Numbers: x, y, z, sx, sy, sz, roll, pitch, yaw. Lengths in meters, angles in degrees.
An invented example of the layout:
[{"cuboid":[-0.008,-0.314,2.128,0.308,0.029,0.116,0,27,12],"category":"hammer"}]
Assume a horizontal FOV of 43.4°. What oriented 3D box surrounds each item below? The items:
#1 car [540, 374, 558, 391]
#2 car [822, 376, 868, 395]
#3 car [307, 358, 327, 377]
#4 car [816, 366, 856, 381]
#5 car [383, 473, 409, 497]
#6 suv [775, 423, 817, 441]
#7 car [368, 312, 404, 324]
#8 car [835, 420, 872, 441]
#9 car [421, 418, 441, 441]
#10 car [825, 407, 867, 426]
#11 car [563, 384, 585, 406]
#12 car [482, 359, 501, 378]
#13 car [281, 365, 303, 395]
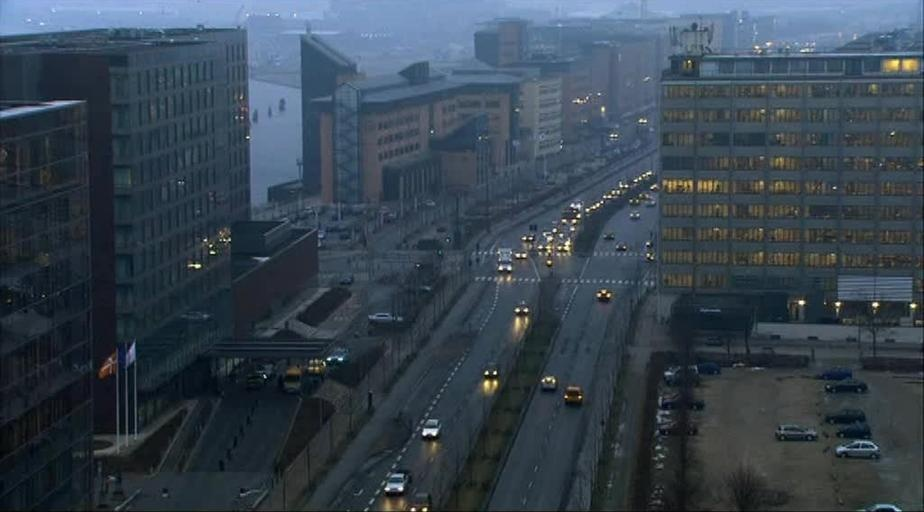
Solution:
[{"cuboid":[10.279,15.242,138.806,2.038,1.258,2.373,0,12,3],"category":"car"},{"cuboid":[45.117,15.382,137.315,4.665,1.208,1.936,1,4,4],"category":"car"},{"cuboid":[-17.825,13.596,141.603,1.993,1.352,3.036,0,8,1],"category":"car"},{"cuboid":[44.858,14.202,140.341,3.152,0.902,1.803,1,4,9],"category":"car"},{"cuboid":[-6.730,22.989,117.137,2.300,1.596,2.568,1,12,7],"category":"car"},{"cuboid":[36.261,19.329,126.839,3.057,0.823,2.004,-2,9,4],"category":"suv"},{"cuboid":[-10.495,8.480,159.453,4.790,0.887,3.132,0,12,-1],"category":"car"},{"cuboid":[42.634,19.140,126.990,3.060,1.055,1.823,-1,11,6],"category":"car"},{"cuboid":[-3.470,19.090,128.241,2.221,1.486,2.815,-1,12,-3],"category":"car"},{"cuboid":[42.562,17.971,129.960,3.747,1.096,1.911,1,5,5],"category":"car"},{"cuboid":[12.976,16.218,135.711,1.637,1.210,2.527,1,10,11],"category":"car"},{"cuboid":[3.592,14.167,142.633,2.082,1.184,2.562,1,12,4],"category":"car"},{"cuboid":[-20.165,14.595,138.304,1.744,1.248,3.575,-1,16,-3],"category":"car"}]
